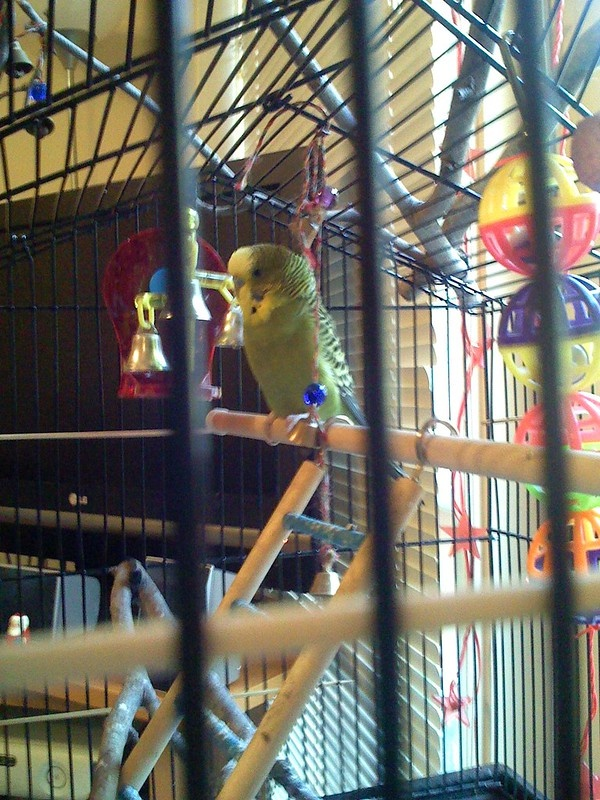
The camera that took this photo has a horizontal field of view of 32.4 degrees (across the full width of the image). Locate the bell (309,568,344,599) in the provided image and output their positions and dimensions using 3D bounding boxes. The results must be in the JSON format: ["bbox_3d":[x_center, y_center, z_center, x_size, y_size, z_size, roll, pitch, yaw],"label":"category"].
[{"bbox_3d":[0.023,0.161,0.919,0.018,0.025,0.021,4,-3,16],"label":"bell"}]

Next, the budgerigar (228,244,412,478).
[{"bbox_3d":[0.020,-0.078,1.322,0.253,0.313,0.120,-17,29,-35],"label":"budgerigar"}]
